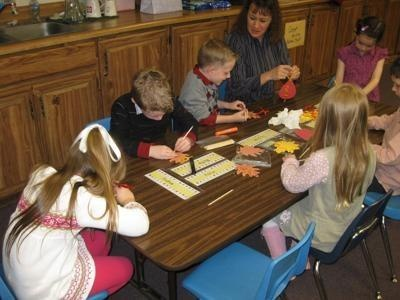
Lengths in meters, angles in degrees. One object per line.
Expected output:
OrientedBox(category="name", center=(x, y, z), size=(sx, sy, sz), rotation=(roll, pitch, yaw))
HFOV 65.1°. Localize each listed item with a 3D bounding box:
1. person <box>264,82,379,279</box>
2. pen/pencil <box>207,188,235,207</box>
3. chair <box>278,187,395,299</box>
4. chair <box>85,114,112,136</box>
OrientedBox(category="person", center=(0.650, 0.203, 1.822), size=(0.518, 1.112, 0.546), rotation=(-9, 20, -36))
OrientedBox(category="pen/pencil", center=(0.097, 0.224, 1.473), size=(0.013, 0.015, 0.175), rotation=(12, 24, 39))
OrientedBox(category="chair", center=(0.747, 0.519, 1.741), size=(0.380, 0.533, 0.380), rotation=(-33, 48, -21))
OrientedBox(category="chair", center=(-0.663, -0.193, 2.069), size=(0.148, 0.171, 0.161), rotation=(-10, 57, -12))
